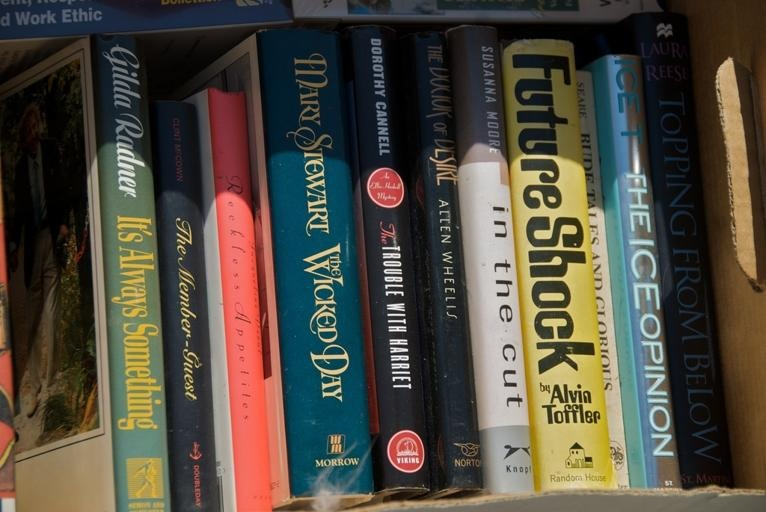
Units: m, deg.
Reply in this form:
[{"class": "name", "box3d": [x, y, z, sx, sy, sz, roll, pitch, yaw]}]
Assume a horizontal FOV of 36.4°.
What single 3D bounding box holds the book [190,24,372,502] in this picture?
[{"class": "book", "box3d": [-0.123, 0.012, 1.304, 0.196, 0.530, 0.099, -5, -14, 4]}]
